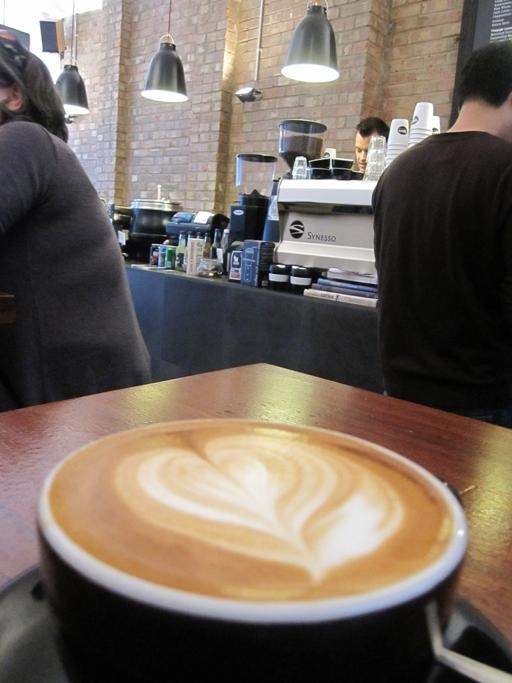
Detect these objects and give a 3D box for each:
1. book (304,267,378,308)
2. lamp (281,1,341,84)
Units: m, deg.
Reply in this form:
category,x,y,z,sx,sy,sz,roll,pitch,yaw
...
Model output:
category,x,y,z,sx,sy,sz,roll,pitch,yaw
book,0.373,-0.221,2.112,0.225,0.081,0.177,14,22,31
lamp,0.412,-2.278,3.802,0.414,0.562,0.427,0,2,3
